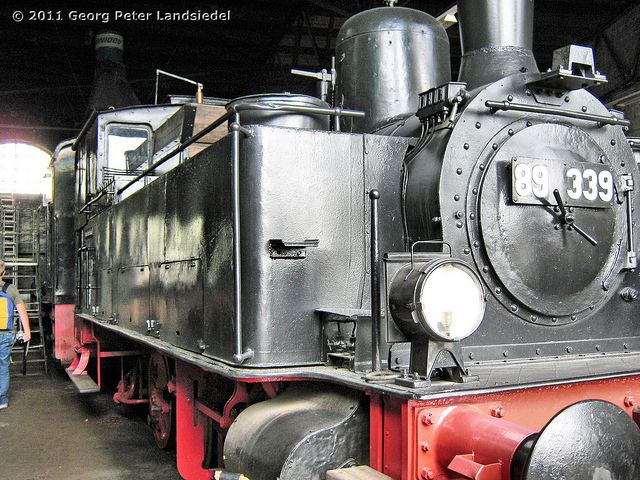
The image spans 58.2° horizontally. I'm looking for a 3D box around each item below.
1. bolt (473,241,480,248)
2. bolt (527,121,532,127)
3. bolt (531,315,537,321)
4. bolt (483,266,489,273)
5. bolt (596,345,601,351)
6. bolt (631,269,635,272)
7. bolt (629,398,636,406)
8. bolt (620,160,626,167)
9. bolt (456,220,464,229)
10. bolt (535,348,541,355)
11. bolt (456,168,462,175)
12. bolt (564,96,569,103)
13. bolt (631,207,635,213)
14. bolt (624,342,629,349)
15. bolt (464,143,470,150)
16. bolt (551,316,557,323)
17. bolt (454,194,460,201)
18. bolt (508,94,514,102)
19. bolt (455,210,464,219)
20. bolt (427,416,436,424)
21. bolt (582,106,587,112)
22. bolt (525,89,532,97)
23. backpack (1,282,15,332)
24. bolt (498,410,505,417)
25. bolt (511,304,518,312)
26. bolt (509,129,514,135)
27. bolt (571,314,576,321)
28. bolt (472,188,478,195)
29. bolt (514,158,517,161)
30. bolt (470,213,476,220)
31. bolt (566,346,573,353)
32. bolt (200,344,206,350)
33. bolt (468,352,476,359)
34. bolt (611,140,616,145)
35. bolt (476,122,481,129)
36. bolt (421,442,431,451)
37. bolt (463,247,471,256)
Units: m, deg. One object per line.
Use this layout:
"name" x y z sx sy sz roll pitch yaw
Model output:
"bolt" 0.856 0.020 3.148 0.031 0.032 0.019 -46 11 -25
"bolt" 1.207 -0.676 3.318 0.016 0.024 0.007 18 0 3
"bolt" 1.216 0.444 3.264 0.026 0.028 0.009 12 -8 -15
"bolt" 0.911 0.161 3.162 0.030 0.038 0.030 -2 1 -32
"bolt" 1.668 0.647 3.441 0.034 0.024 0.006 0 -1 -28
"bolt" 1.928 0.187 3.546 0.017 0.019 0.018 1 4 27
"bolt" 1.700 0.886 3.126 0.024 0.029 0.036 1 -4 -2
"bolt" 1.880 -0.481 3.568 0.031 0.033 0.019 5 3 -8
"bolt" 0.760 -0.083 3.126 0.052 0.041 0.006 0 -1 -25
"bolt" 1.241 0.635 3.270 0.035 0.036 0.006 0 -1 -26
"bolt" 0.761 -0.381 3.154 0.039 0.035 0.003 0 -1 -29
"bolt" 1.478 -0.850 3.447 0.025 0.023 0.022 27 18 -22
"bolt" 1.931 -0.188 3.540 0.008 0.024 0.045 -2 -2 36
"bolt" 1.888 0.653 3.540 0.023 0.034 0.010 2 1 -23
"bolt" 0.809 -0.521 3.180 0.029 0.031 0.008 -5 -8 -31
"bolt" 1.349 0.457 3.312 0.024 0.025 0.006 6 -3 -29
"bolt" 0.745 -0.233 3.135 0.029 0.032 0.018 -6 5 -23
"bolt" 1.082 -0.813 3.268 0.030 0.033 0.009 -9 -1 -14
"bolt" 0.758 -0.142 3.131 0.056 0.048 0.013 0 -1 -28
"bolt" 0.509 0.829 2.636 0.053 0.039 0.007 0 -2 -40
"bolt" 1.613 -0.803 3.501 0.033 0.024 0.006 0 -1 -28
"bolt" 1.213 -0.861 3.345 0.028 0.042 0.019 0 -1 -10
"backpack" -4.271 0.912 7.801 0.121 0.653 0.259 -1 -1 -14
"bolt" 0.880 0.846 2.797 0.013 0.042 0.071 -2 -2 32
"bolt" 1.089 0.383 3.224 0.045 0.042 0.007 0 -1 -24
"bolt" 1.091 -0.620 3.272 0.030 0.031 0.012 -1 -1 -10
"bolt" 1.486 0.453 3.368 0.028 0.030 0.007 8 -2 -29
"bolt" 0.855 -0.272 3.176 0.033 0.035 0.009 0 -1 -24
"bolt" 1.088 -0.452 3.202 0.021 0.015 0.002 0 -1 -30
"bolt" 0.838 -0.133 3.159 0.045 0.035 0.006 0 -1 -37
"bolt" 1.457 0.641 3.357 0.045 0.025 0.002 -1 -1 -18
"bolt" -0.736 0.665 3.568 0.034 0.020 0.026 4 2 13
"bolt" 0.825 0.631 3.125 0.022 0.032 0.031 1 3 -7
"bolt" 1.816 -0.607 3.556 0.024 0.016 0.025 1 -6 -7
"bolt" 0.882 -0.647 3.214 0.028 0.029 0.008 -40 19 -17
"bolt" 0.481 0.944 2.629 0.035 0.038 0.034 -9 -1 -19
"bolt" 0.798 0.062 3.127 0.046 0.045 0.011 0 -1 -27
